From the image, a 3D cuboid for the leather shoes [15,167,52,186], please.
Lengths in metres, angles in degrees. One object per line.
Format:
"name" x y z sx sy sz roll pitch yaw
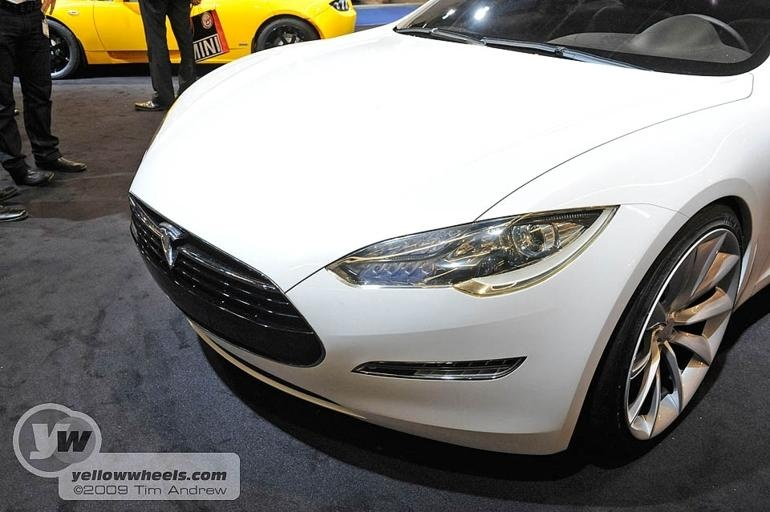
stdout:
"leather shoes" -2.304 -0.543 3.342 0.254 0.099 0.109 -4 -5 -14
